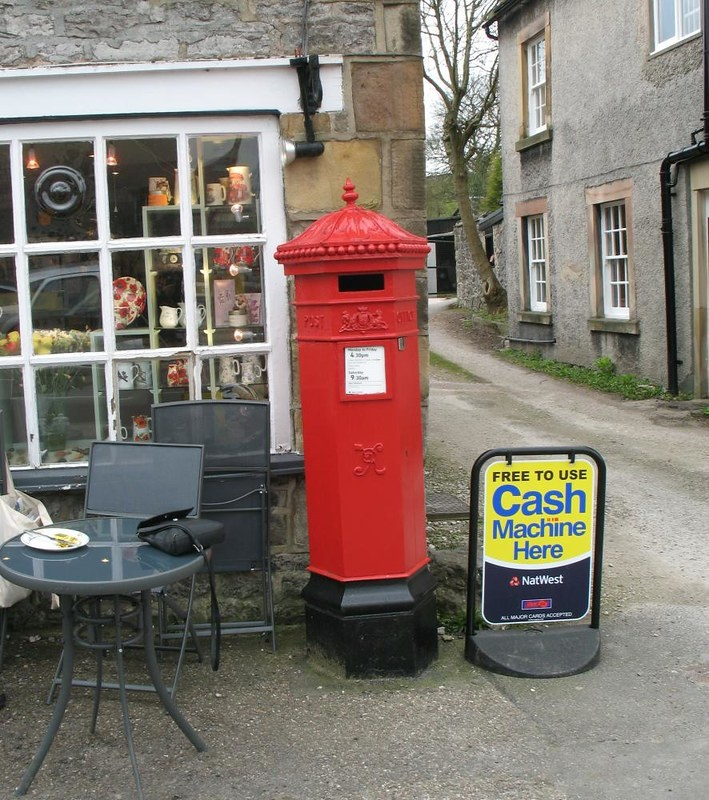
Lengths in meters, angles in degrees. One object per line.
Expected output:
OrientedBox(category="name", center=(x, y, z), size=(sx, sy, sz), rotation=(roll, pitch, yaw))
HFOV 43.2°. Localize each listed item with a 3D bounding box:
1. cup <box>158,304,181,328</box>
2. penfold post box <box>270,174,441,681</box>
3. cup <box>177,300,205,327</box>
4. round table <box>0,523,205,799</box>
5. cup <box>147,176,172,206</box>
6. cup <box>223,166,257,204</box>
OrientedBox(category="cup", center=(-0.972, -0.435, 4.746), size=(0.131, 0.115, 0.093), rotation=(2, 5, -3))
OrientedBox(category="penfold post box", center=(0.032, 0.189, 3.988), size=(0.678, 2.063, 0.402), rotation=(-2, 10, -4))
OrientedBox(category="cup", center=(-0.850, -0.456, 4.697), size=(0.148, 0.122, 0.099), rotation=(2, 3, -7))
OrientedBox(category="round table", center=(-0.945, 0.931, 3.292), size=(0.699, 0.824, 0.809), rotation=(-9, 12, -39))
OrientedBox(category="cup", center=(-1.007, -1.073, 4.638), size=(0.161, 0.141, 0.114), rotation=(1, 10, -12))
OrientedBox(category="cup", center=(-0.599, -1.110, 4.692), size=(0.187, 0.257, 0.235), rotation=(-2, 13, 0))
